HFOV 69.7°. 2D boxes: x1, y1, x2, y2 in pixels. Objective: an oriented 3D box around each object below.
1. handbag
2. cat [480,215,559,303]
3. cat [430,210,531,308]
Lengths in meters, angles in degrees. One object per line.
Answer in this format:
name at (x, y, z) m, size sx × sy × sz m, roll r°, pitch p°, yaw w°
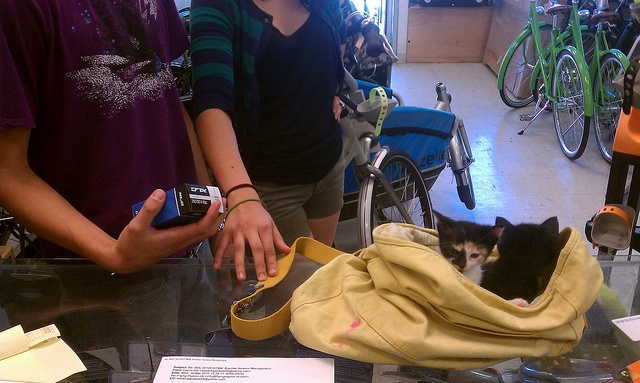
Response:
handbag at (0.272, 0.257, 1.104) m, size 0.631 × 0.205 × 0.411 m, roll 3°, pitch 11°, yaw 6°
cat at (0.429, 0.146, 1.072) m, size 0.156 × 0.212 × 0.130 m, roll 2°, pitch 21°, yaw -23°
cat at (0.366, 0.136, 1.006) m, size 0.124 × 0.253 × 0.181 m, roll -5°, pitch 70°, yaw 28°
